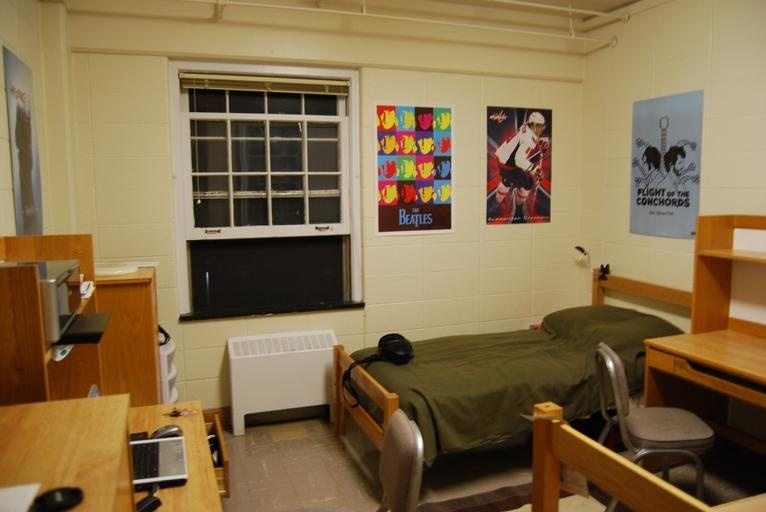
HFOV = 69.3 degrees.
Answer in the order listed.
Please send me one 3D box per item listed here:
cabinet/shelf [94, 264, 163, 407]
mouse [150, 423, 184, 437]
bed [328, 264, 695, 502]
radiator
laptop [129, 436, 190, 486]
[{"bbox_3d":[-1.517,0.492,3.302,0.328,0.806,0.850,0,3,-23],"label":"cabinet/shelf"},{"bbox_3d":[-1.179,0.967,3.050,0.110,0.040,0.082,1,2,-23],"label":"mouse"},{"bbox_3d":[0.989,0.856,3.606,2.247,1.195,1.501,-2,5,-15],"label":"bed"},{"bbox_3d":[-0.799,1.041,4.557,0.909,0.679,0.305,-1,6,-24],"label":"radiator"},{"bbox_3d":[-1.129,1.065,2.831,0.331,0.078,0.329,1,25,-22],"label":"laptop"}]
